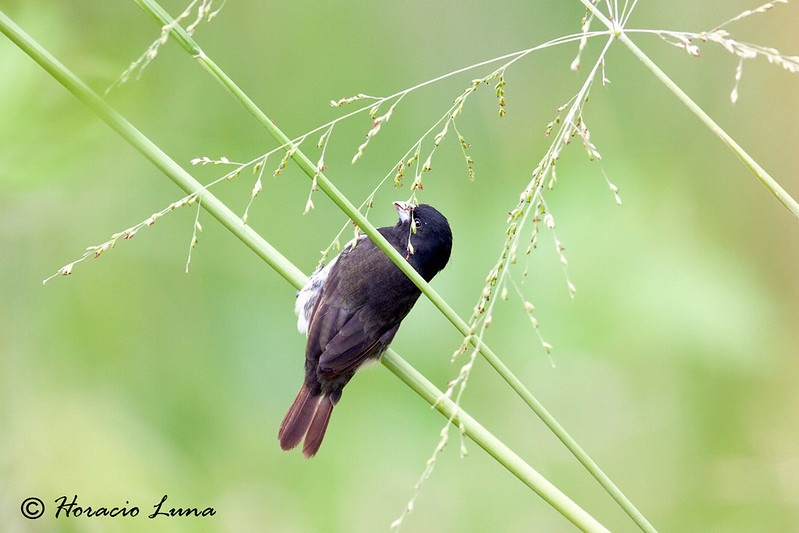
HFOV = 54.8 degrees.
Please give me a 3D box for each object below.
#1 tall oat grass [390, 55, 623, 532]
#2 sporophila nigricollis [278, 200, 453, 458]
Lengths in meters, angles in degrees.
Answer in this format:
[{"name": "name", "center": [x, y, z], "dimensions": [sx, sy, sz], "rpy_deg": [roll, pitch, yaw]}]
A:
[{"name": "tall oat grass", "center": [0.498, -0.048, 3.575], "dimensions": [0.813, 0.867, 2.597], "rpy_deg": [1, -92, 1]}, {"name": "sporophila nigricollis", "center": [-0.195, 0.279, 5.085], "dimensions": [0.762, 1.867, 0.789], "rpy_deg": [34, -15, -5]}]
